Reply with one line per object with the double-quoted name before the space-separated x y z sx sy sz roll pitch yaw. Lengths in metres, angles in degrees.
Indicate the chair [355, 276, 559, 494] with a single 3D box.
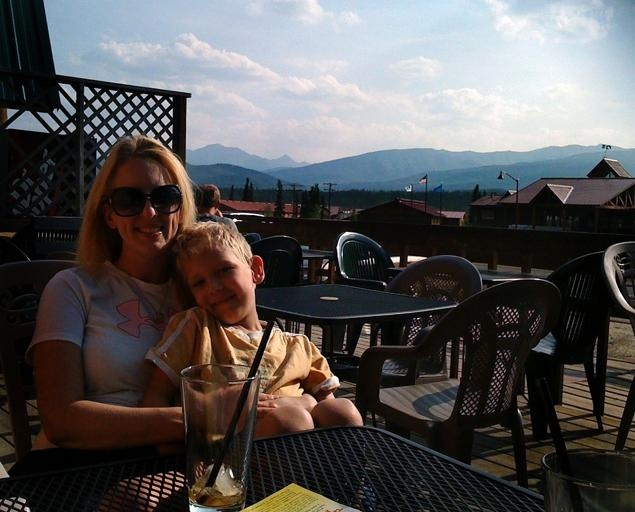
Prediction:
"chair" 0.615 0.315 2.161 0.716 1.044 0.737 -1 3 -32
